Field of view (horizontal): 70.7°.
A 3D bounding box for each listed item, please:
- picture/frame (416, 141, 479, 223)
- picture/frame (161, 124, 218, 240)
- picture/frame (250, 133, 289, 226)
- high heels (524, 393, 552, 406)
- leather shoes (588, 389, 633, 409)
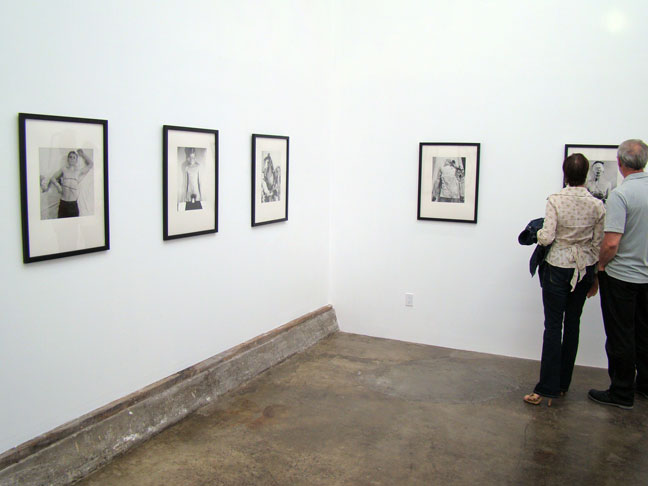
[{"bbox_3d":[1.465,-0.726,5.356,0.656,1.055,0.032,2,-23,15],"label":"picture/frame"},{"bbox_3d":[-1.173,-0.537,4.046,0.125,0.953,0.644,5,12,26],"label":"picture/frame"},{"bbox_3d":[-0.605,-0.699,4.894,0.036,1.174,0.848,3,6,25],"label":"picture/frame"},{"bbox_3d":[2.013,1.462,4.298,0.204,0.100,0.114,6,6,20],"label":"high heels"},{"bbox_3d":[2.633,1.441,4.217,0.359,0.183,0.137,6,3,40],"label":"leather shoes"}]
